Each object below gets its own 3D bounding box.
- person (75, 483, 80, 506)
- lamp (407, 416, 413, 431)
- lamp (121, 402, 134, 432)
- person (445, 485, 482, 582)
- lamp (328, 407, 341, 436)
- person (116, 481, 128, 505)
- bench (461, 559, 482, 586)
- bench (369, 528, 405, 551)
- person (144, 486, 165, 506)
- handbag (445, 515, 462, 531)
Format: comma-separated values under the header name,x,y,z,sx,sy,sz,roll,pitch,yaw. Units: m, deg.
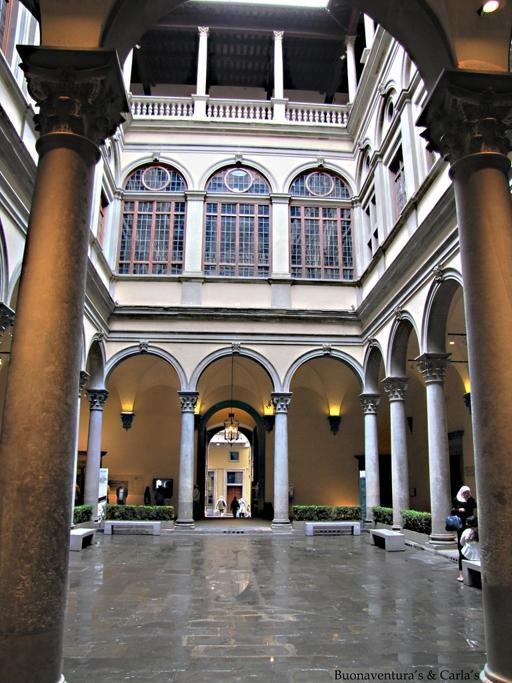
name,x,y,z,sx,sy,sz,roll,pitch,yaw
person,-7.174,6.108,19.456,0.182,0.770,1.142,5,-17,-19
lamp,6.677,3.587,21.019,0.314,0.682,0.183,-12,-19,39
lamp,-5.487,3.211,20.632,0.621,1.002,0.829,5,-16,-16
person,3.543,3.254,8.336,0.514,1.441,1.560,-6,-17,23
lamp,3.477,3.524,21.545,0.656,1.200,0.524,-2,-15,9
person,-5.478,6.184,19.754,0.488,0.861,1.654,4,-17,-15
bench,3.276,3.520,7.338,0.215,0.336,0.558,-3,-16,10
bench,3.308,4.971,12.158,0.494,0.411,1.464,0,-16,0
person,-4.216,6.404,20.099,0.679,0.730,0.265,0,-26,-5
handbag,3.390,3.149,8.313,0.263,0.300,0.264,1,2,20
